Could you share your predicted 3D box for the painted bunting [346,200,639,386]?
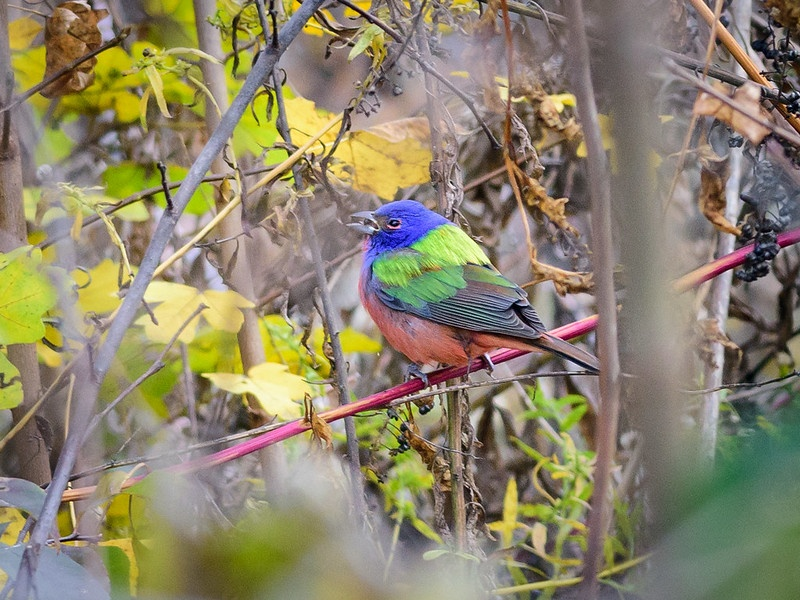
[{"bbox_3d":[0.410,-0.047,4.968,1.332,0.832,0.612,6,2,26],"label":"painted bunting"}]
